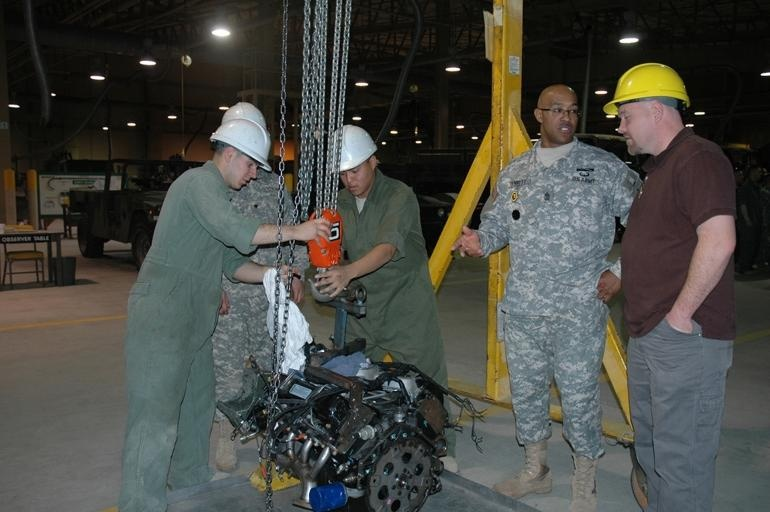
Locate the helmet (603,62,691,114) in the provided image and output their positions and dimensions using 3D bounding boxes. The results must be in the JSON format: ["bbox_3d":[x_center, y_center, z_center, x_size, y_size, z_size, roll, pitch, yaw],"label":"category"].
[{"bbox_3d":[1.516,-0.984,3.643,0.390,0.207,0.301,4,0,8],"label":"helmet"}]

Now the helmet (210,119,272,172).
[{"bbox_3d":[-0.911,-0.700,3.878,0.375,0.199,0.294,21,8,-4],"label":"helmet"}]

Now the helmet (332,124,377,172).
[{"bbox_3d":[-0.266,-0.703,4.103,0.363,0.311,0.177,-3,5,-39],"label":"helmet"}]
